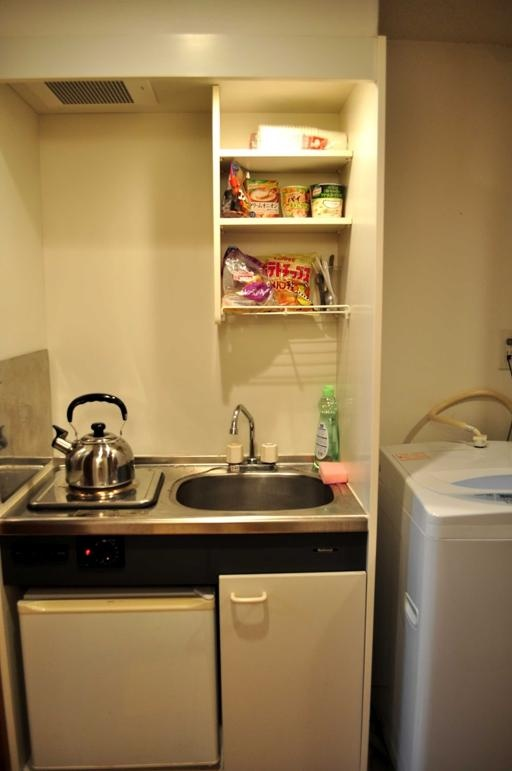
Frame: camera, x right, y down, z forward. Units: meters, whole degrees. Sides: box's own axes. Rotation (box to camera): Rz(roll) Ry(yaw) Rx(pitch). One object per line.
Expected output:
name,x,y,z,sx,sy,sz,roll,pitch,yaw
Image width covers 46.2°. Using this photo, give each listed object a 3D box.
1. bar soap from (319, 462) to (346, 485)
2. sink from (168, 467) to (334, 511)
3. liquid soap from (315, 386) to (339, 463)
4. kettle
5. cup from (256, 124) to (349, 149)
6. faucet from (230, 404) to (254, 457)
bar soap,0.229,0.260,1.765,0.076,0.051,0.094,-3,6,0
sink,-0.003,0.329,1.775,0.442,0.123,0.169,-3,6,2
liquid soap,0.222,0.115,1.876,0.077,0.237,0.149,-2,6,7
kettle,-0.459,0.184,1.717,0.185,0.304,0.210,4,13,-3
cup,0.133,-0.677,1.650,0.241,0.072,0.045,-5,6,-15
faucet,-0.043,0.146,1.854,0.080,0.183,0.233,-3,6,0
